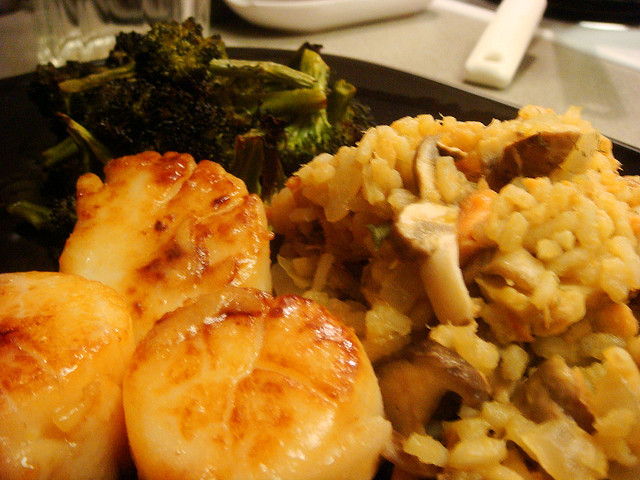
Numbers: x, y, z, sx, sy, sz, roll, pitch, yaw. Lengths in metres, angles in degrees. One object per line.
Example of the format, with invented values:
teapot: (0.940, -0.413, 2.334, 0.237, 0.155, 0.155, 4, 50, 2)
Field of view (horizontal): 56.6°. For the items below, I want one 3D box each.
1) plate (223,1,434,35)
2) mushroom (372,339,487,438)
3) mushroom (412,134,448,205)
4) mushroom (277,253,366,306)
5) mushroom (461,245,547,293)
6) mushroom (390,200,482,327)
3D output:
plate: (0.029, -1.287, 3.402, 0.667, 0.119, 0.454, -8, 12, -24)
mushroom: (0.286, 0.368, 1.563, 0.241, 0.152, 0.229, -13, 58, -14)
mushroom: (0.314, -0.201, 1.691, 0.100, 0.034, 0.173, 7, 69, -22)
mushroom: (0.001, 0.104, 1.872, 0.204, 0.075, 0.148, 34, 37, 9)
mushroom: (0.494, 0.069, 1.569, 0.159, 0.068, 0.125, 32, 41, 20)
mushroom: (0.305, 0.083, 1.607, 0.224, 0.087, 0.325, -24, 82, -35)
